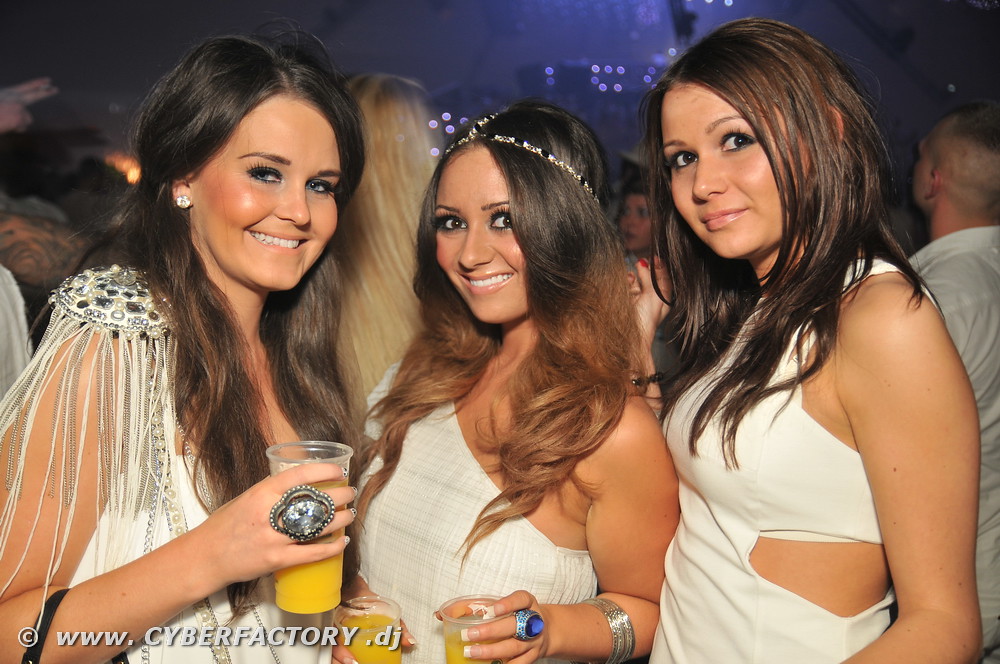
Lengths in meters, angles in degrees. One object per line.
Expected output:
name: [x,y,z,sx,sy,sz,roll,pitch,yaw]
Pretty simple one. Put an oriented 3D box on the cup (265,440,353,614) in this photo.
cup: [-0.594,0.641,2.663,0.253,0.617,0.264,4,9,-1]
